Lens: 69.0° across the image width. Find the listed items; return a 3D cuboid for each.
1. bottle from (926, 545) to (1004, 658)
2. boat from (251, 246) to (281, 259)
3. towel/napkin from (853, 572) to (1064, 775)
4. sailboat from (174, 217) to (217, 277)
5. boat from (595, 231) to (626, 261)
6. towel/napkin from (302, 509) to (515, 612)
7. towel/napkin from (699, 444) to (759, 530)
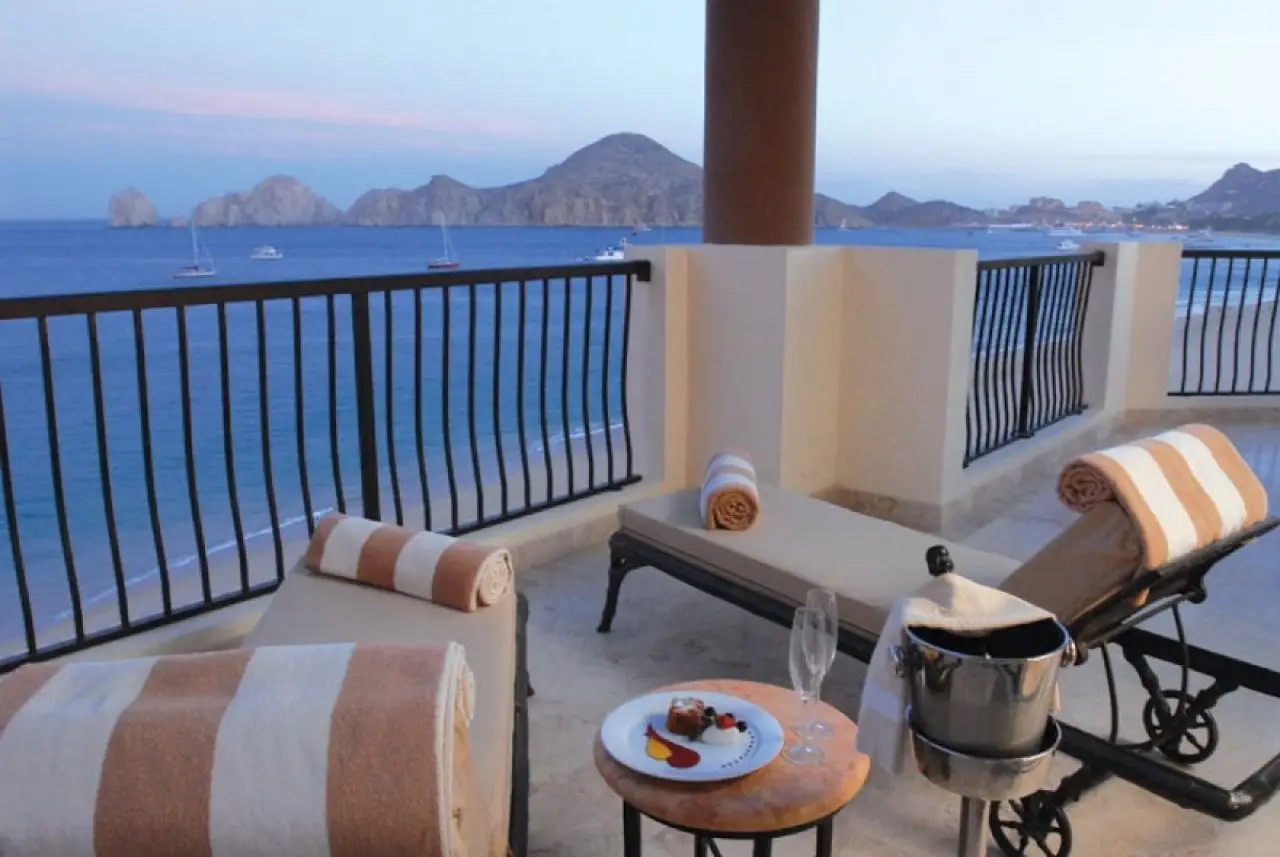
[{"bbox_3d":[0.779,0.422,2.251,0.086,0.291,0.079,-28,15,8],"label":"bottle"},{"bbox_3d":[-16.601,-7.754,41.225,1.309,0.566,0.668,1,8,21],"label":"boat"},{"bbox_3d":[0.705,0.553,2.082,0.437,0.432,0.185,1,9,22],"label":"towel/napkin"},{"bbox_3d":[-18.460,-7.218,38.607,1.438,1.957,2.504,-5,8,-24],"label":"sailboat"},{"bbox_3d":[-1.429,-8.273,42.584,1.275,0.928,2.285,-2,7,-4],"label":"boat"},{"bbox_3d":[-0.766,0.424,3.001,0.651,0.207,0.266,12,7,22],"label":"towel/napkin"},{"bbox_3d":[0.344,0.308,3.642,0.212,0.205,0.474,0,13,5],"label":"towel/napkin"}]
